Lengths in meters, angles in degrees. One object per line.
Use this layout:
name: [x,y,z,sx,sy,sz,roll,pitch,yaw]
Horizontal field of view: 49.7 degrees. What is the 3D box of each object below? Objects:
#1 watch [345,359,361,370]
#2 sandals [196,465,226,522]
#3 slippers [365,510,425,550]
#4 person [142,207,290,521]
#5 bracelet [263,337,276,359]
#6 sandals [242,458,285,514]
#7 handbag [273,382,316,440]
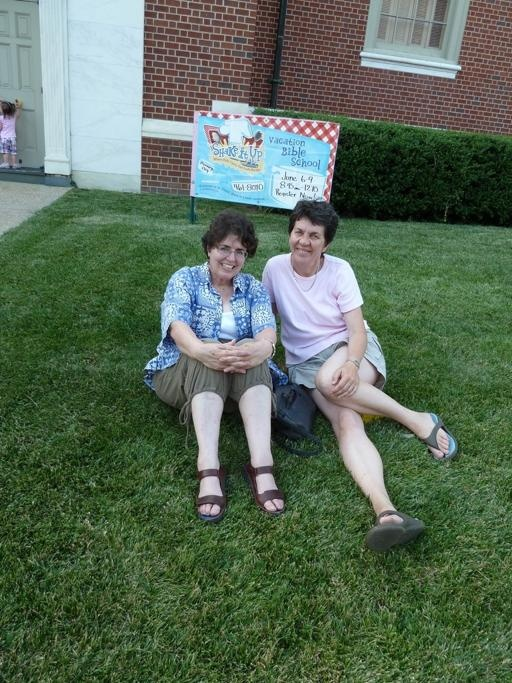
watch: [0.441,0.104,2.498,0.055,0.035,0.057,-11,-14,37]
sandals: [-0.160,0.572,2.023,0.073,0.081,0.212,-3,11,1]
slippers: [0.467,0.637,1.915,0.244,0.094,0.104,14,28,-47]
person: [-0.140,0.008,2.313,0.602,0.981,0.985,-1,21,-14]
bracelet: [0.061,0.048,2.494,0.028,0.073,0.054,-1,45,11]
sandals: [0.033,0.557,2.113,0.080,0.086,0.221,-5,19,-15]
handbag: [0.152,0.354,2.641,0.199,0.089,0.248,-27,75,-42]
